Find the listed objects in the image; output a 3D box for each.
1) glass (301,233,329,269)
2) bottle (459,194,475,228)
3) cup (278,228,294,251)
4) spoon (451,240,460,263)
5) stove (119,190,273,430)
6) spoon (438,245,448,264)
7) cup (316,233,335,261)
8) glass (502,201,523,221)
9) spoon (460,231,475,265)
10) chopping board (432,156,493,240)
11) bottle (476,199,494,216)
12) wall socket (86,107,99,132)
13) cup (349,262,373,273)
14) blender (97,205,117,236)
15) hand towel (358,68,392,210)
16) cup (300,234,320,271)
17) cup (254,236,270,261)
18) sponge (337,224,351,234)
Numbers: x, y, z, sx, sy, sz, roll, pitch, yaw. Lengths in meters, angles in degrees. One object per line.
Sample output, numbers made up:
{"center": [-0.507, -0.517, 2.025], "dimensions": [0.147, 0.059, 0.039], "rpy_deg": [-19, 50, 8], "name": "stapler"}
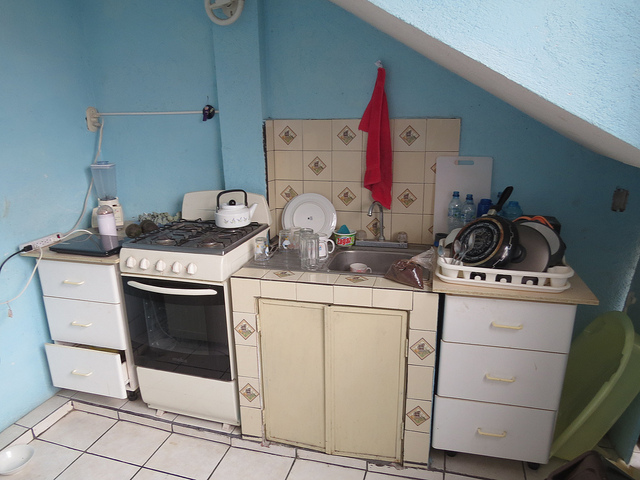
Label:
{"center": [-0.019, 0.064, 2.688], "dimensions": [0.172, 0.183, 0.109], "rpy_deg": [5, 6, 10], "name": "glass"}
{"center": [0.838, -0.169, 2.883], "dimensions": [0.081, 0.185, 0.060], "rpy_deg": [4, 16, 15], "name": "bottle"}
{"center": [-0.209, -0.001, 2.932], "dimensions": [0.083, 0.116, 0.169], "rpy_deg": [-7, 16, -22], "name": "cup"}
{"center": [0.655, 0.037, 2.459], "dimensions": [0.010, 0.071, 0.018], "rpy_deg": [13, 4, -27], "name": "spoon"}
{"center": [-0.702, 0.478, 2.926], "dimensions": [0.648, 1.095, 0.529], "rpy_deg": [4, 16, 15], "name": "stove"}
{"center": [0.596, 0.062, 2.473], "dimensions": [0.018, 0.109, 0.023], "rpy_deg": [-17, -7, 42], "name": "spoon"}
{"center": [0.005, 0.029, 2.825], "dimensions": [0.155, 0.148, 0.097], "rpy_deg": [3, 11, 14], "name": "cup"}
{"center": [1.054, -0.160, 2.855], "dimensions": [0.126, 0.138, 0.124], "rpy_deg": [0, 8, 9], "name": "glass"}
{"center": [0.721, 0.023, 2.470], "dimensions": [0.036, 0.202, 0.041], "rpy_deg": [-2, -26, 45], "name": "spoon"}
{"center": [0.816, -0.290, 2.903], "dimensions": [0.296, 0.373, 0.056], "rpy_deg": [0, 15, 4], "name": "chopping board"}
{"center": [0.911, -0.183, 2.817], "dimensions": [0.079, 0.133, 0.074], "rpy_deg": [0, 13, 0], "name": "bottle"}
{"center": [-1.446, -0.781, 3.216], "dimensions": [0.031, 0.131, 0.073], "rpy_deg": [5, 3, 34], "name": "wall socket"}
{"center": [0.224, 0.154, 2.870], "dimensions": [0.091, 0.041, 0.060], "rpy_deg": [9, 16, 17], "name": "cup"}
{"center": [-1.260, -0.114, 2.991], "dimensions": [0.096, 0.169, 0.114], "rpy_deg": [-4, 15, -12], "name": "blender"}
{"center": [0.314, -0.575, 2.884], "dimensions": [0.188, 0.785, 0.073], "rpy_deg": [0, 15, 3], "name": "hand towel"}
{"center": [-0.055, 0.059, 2.660], "dimensions": [0.100, 0.180, 0.118], "rpy_deg": [-1, 15, -1], "name": "cup"}
{"center": [-0.316, 0.050, 2.735], "dimensions": [0.113, 0.147, 0.105], "rpy_deg": [0, 8, 0], "name": "cup"}
{"center": [0.141, -0.064, 2.978], "dimensions": [0.054, 0.031, 0.051], "rpy_deg": [4, 9, 7], "name": "sponge"}
